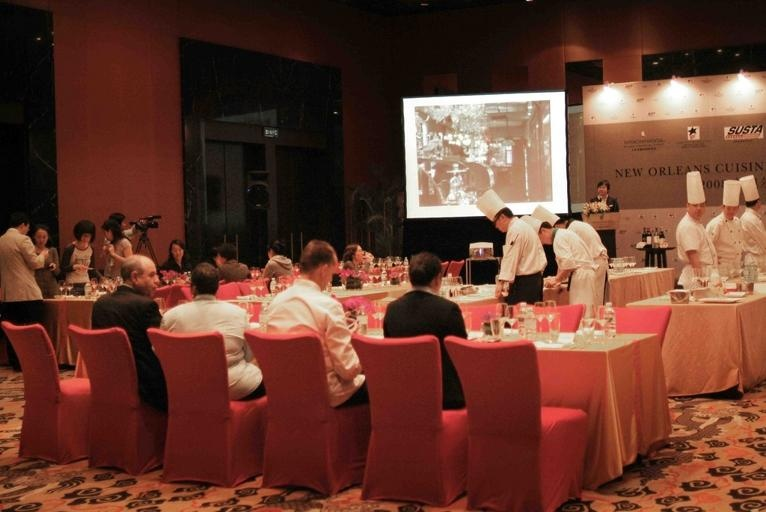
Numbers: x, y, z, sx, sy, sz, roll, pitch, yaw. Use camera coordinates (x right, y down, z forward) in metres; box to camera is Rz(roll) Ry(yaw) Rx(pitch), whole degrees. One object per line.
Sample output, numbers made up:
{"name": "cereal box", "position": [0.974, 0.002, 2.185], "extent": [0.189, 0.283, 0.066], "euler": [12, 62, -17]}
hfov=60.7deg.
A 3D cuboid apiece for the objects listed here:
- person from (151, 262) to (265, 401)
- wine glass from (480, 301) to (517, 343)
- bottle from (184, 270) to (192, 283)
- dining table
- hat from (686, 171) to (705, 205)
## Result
{"name": "person", "position": [-1.408, 0.710, 5.439], "extent": [1.042, 1.284, 0.794], "euler": [-6, -2, -14]}
{"name": "wine glass", "position": [0.903, 0.523, 5.172], "extent": [0.212, 0.312, 0.336], "euler": [0, 4, -10]}
{"name": "bottle", "position": [-2.674, 0.285, 8.940], "extent": [0.137, 0.146, 0.035], "euler": [4, -12, 19]}
{"name": "dining table", "position": [1.536, 0.986, 5.029], "extent": [1.647, 0.902, 1.341], "euler": [-2, -1, 35]}
{"name": "hat", "position": [3.786, -0.821, 7.933], "extent": [0.172, 0.405, 0.688], "euler": [1, 6, 25]}
